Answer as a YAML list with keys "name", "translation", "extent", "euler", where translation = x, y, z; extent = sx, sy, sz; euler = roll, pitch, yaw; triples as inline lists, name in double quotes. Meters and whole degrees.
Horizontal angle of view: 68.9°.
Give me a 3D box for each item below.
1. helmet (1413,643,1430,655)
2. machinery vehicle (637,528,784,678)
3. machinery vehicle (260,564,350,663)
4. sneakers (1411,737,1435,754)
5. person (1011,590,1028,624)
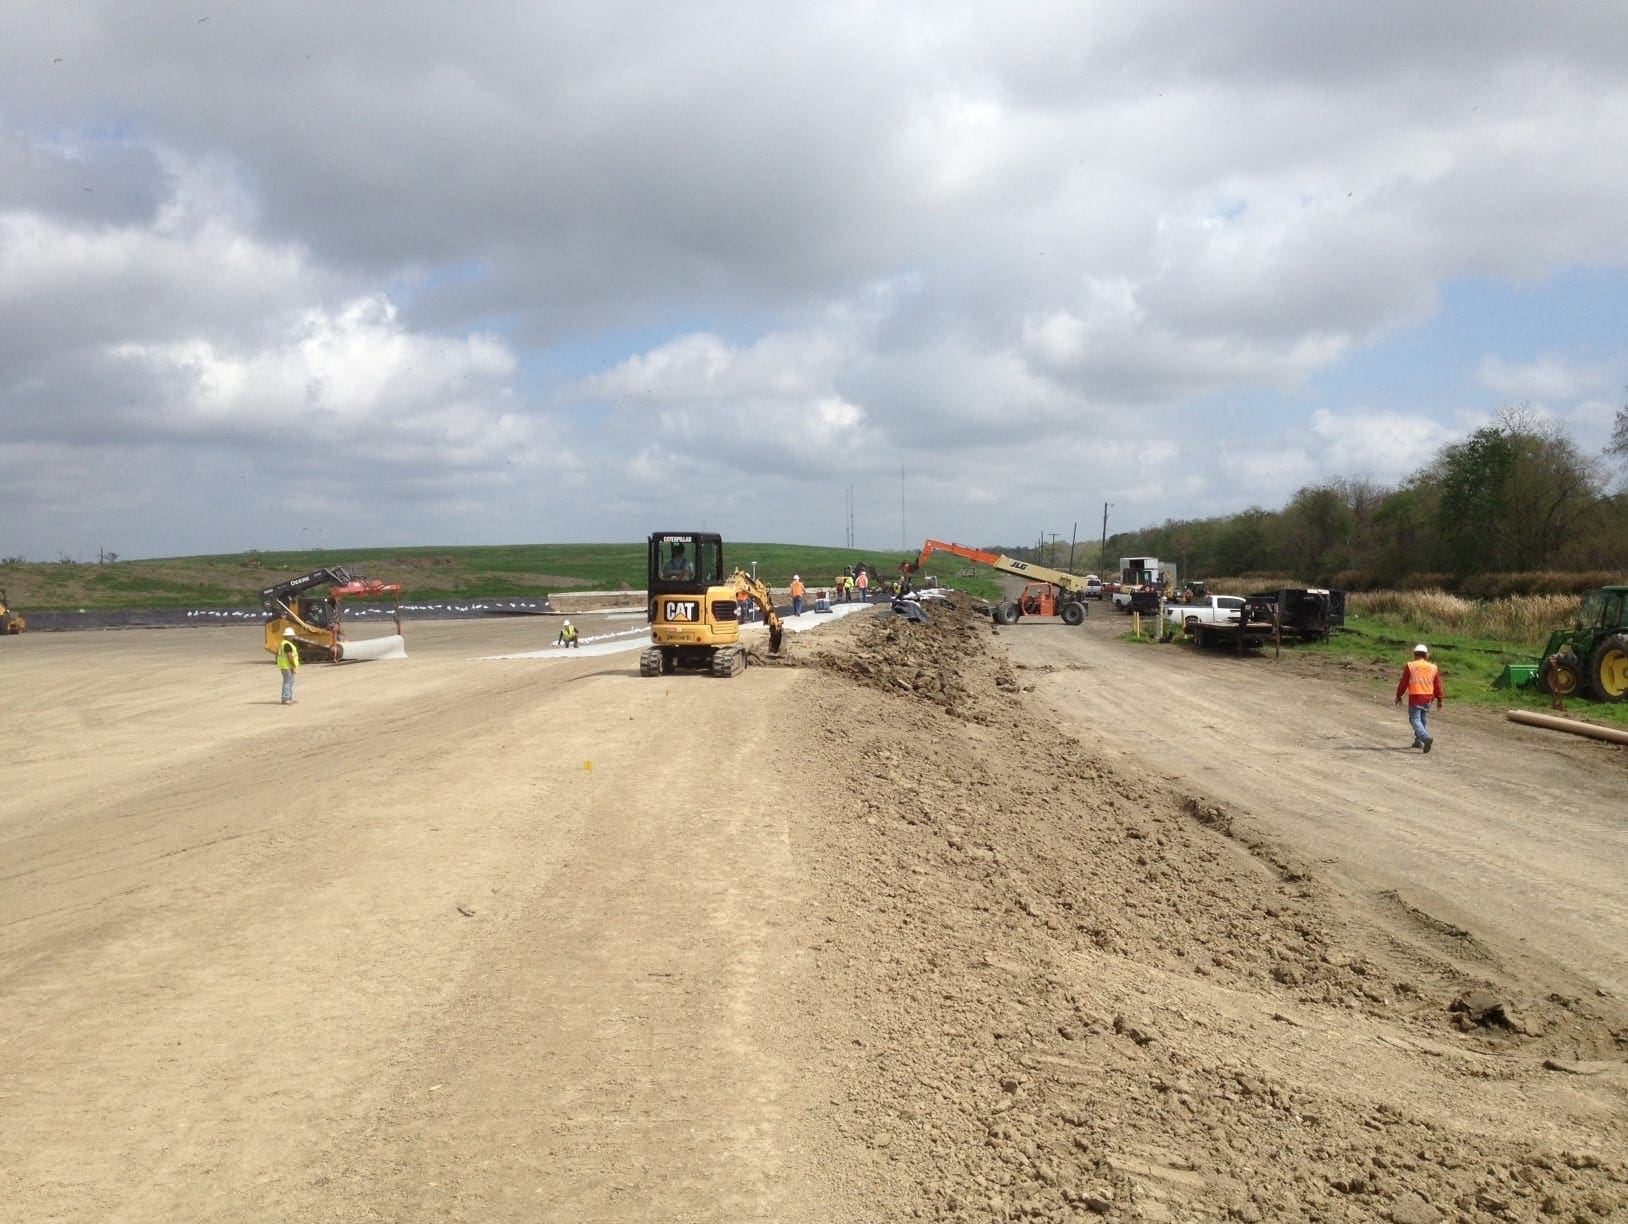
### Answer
- name: "helmet"
  translation: [14.384, 0.878, 28.016]
  extent: [0.437, 0.165, 0.607]
  euler: [1, 6, 19]
- name: "machinery vehicle"
  translation: [-2.903, -0.193, 28.541]
  extent: [2.151, 3.388, 4.329]
  euler: [0, 4, 6]
- name: "machinery vehicle"
  translation: [-15.877, 0.086, 37.119]
  extent: [2.209, 2.949, 2.872]
  euler: [-2, 4, -21]
- name: "sneakers"
  translation: [12.062, 2.624, 23.368]
  extent: [0.184, 0.208, 0.520]
  euler: [-1, 10, -2]
- name: "person"
  translation: [9.824, -0.164, 56.590]
  extent: [0.339, 1.181, 1.219]
  euler: [20, 24, 4]
